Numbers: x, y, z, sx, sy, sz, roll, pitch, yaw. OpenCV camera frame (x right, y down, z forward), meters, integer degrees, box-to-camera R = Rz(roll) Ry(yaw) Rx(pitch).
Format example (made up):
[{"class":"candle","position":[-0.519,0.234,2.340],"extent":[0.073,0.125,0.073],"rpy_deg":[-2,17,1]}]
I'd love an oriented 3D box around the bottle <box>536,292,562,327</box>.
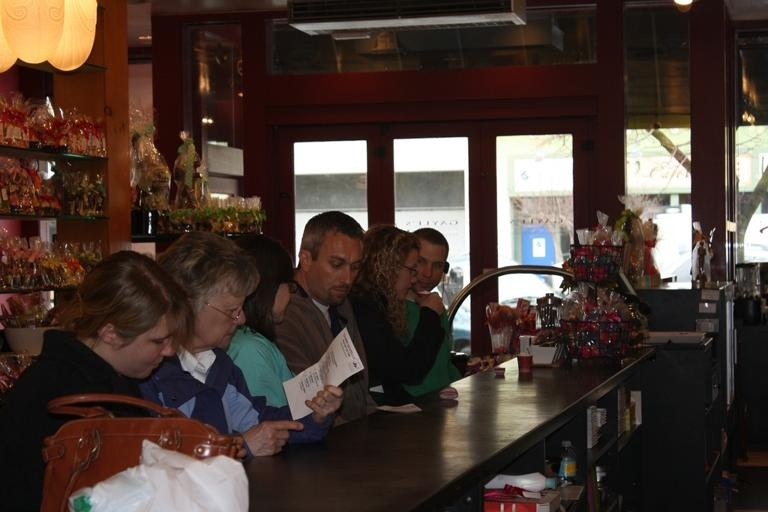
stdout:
[{"class":"bottle","position":[1.142,0.385,4.777],"extent":[0.149,0.232,0.136],"rpy_deg":[-1,-1,0]}]

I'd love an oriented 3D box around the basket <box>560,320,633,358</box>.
[{"class":"basket","position":[1.363,0.499,4.183],"extent":[0.359,0.198,0.489],"rpy_deg":[-4,3,18]}]

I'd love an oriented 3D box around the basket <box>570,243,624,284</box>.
[{"class":"basket","position":[1.378,0.030,4.493],"extent":[0.288,0.237,0.333],"rpy_deg":[-7,6,-33]}]

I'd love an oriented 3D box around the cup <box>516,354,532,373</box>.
[{"class":"cup","position":[0.775,0.591,3.771],"extent":[0.083,0.094,0.087],"rpy_deg":[0,-12,0]}]
